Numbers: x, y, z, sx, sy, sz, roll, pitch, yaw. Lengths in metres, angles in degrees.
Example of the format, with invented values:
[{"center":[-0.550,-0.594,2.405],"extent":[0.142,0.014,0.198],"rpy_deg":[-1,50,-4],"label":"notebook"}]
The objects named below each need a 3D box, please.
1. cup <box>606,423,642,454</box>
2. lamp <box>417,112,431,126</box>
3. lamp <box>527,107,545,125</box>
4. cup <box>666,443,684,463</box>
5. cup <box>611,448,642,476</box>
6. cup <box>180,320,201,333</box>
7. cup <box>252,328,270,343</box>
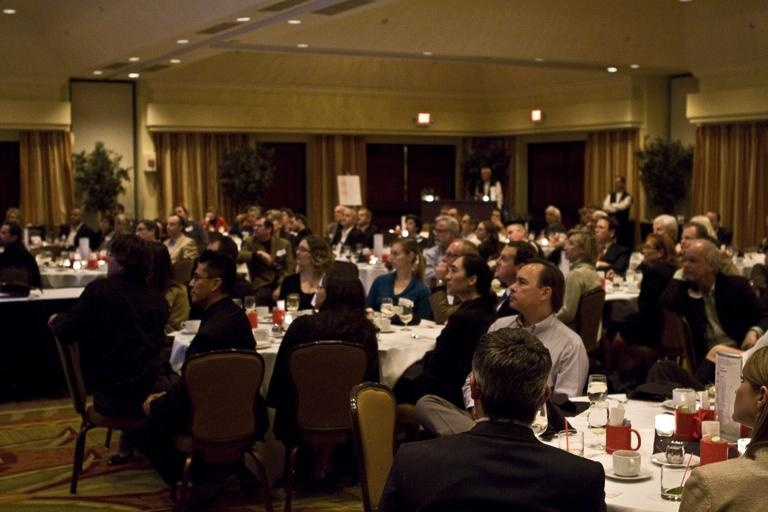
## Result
[{"center":[1.158,0.873,2.955],"extent":[0.178,0.136,0.110],"rpy_deg":[0,-3,34],"label":"cup"},{"center":[1.103,-3.733,16.806],"extent":[0.326,0.355,0.329],"rpy_deg":[-1,3,0],"label":"lamp"},{"center":[3.932,-3.625,15.984],"extent":[0.260,0.394,0.423],"rpy_deg":[-16,15,-37],"label":"lamp"},{"center":[1.306,0.888,2.782],"extent":[0.082,0.085,0.080],"rpy_deg":[-3,0,0],"label":"cup"},{"center":[1.065,0.908,2.681],"extent":[0.081,0.076,0.113],"rpy_deg":[-1,-3,5],"label":"cup"},{"center":[-1.614,0.622,5.139],"extent":[0.135,0.099,0.171],"rpy_deg":[2,-11,-22],"label":"cup"},{"center":[-0.994,0.649,4.966],"extent":[0.101,0.067,0.105],"rpy_deg":[1,7,0],"label":"cup"}]
